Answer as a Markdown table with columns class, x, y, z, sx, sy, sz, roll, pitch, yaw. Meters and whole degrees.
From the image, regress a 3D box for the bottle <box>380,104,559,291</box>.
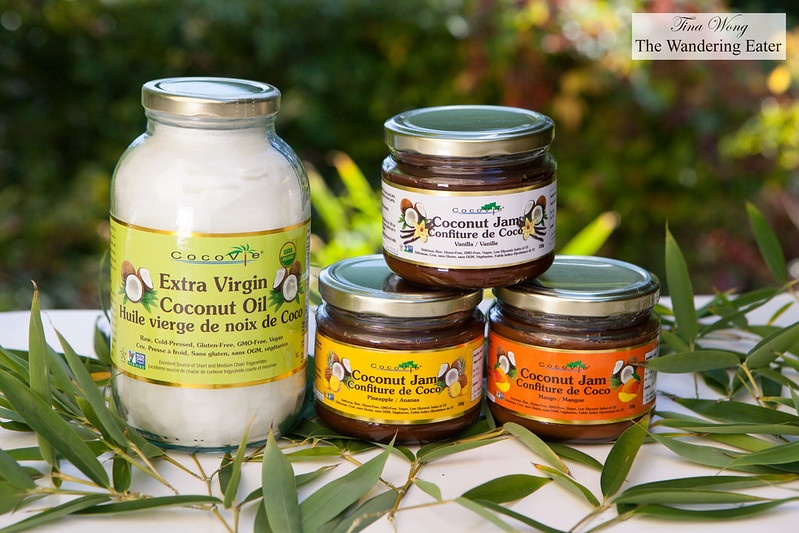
| class | x | y | z | sx | sy | sz | roll | pitch | yaw |
| --- | --- | --- | --- | --- | --- | --- | --- | --- | --- |
| bottle | 0.121 | -0.119 | 1.220 | 0.295 | 0.205 | 0.267 | 5 | 19 | 16 |

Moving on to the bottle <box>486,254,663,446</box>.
| class | x | y | z | sx | sy | sz | roll | pitch | yaw |
| --- | --- | --- | --- | --- | --- | --- | --- | --- | --- |
| bottle | 0.260 | 0.114 | 1.268 | 0.277 | 0.209 | 0.271 | 1 | 10 | 0 |

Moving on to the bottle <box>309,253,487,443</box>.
| class | x | y | z | sx | sy | sz | roll | pitch | yaw |
| --- | --- | --- | --- | --- | --- | --- | --- | --- | --- |
| bottle | -0.006 | 0.110 | 1.259 | 0.276 | 0.197 | 0.271 | 2 | 9 | 0 |
